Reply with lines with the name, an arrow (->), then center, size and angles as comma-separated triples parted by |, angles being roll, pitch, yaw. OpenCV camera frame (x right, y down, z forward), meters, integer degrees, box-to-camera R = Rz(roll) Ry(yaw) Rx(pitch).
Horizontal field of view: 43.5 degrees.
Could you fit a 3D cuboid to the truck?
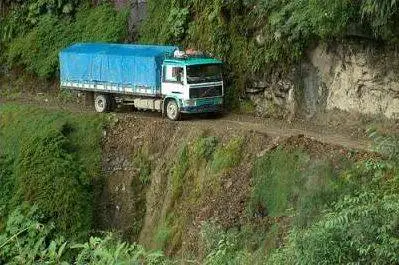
truck -> -3.553, -3.129, 30.183 | 10.103, 3.988, 2.009 | 6, 19, 29
